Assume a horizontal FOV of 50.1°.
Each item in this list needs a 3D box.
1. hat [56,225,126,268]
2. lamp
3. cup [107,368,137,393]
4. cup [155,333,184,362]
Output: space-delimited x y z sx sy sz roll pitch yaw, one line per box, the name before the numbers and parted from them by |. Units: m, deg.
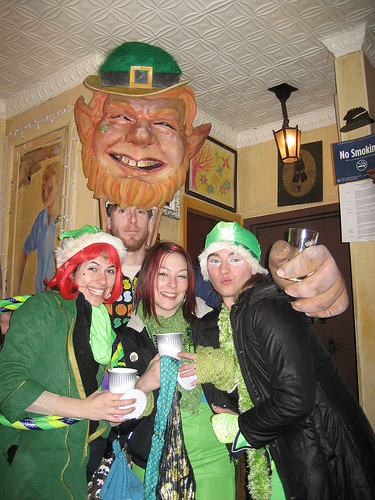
hat | -0.499 -0.042 1.967 0.337 0.133 0.244 -8 34 -40
lamp | 1.057 -1.313 4.265 0.297 0.869 0.401 -7 -9 21
cup | -0.261 0.503 1.543 0.096 0.087 0.125 3 -10 -38
cup | -0.073 0.409 1.684 0.111 0.111 0.103 0 -7 0
